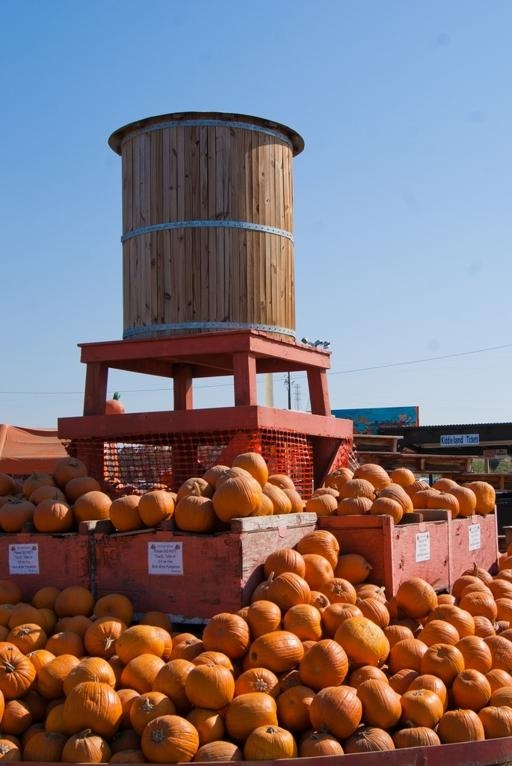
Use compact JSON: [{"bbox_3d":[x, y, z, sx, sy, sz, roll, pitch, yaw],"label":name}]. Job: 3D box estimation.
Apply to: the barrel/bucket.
[{"bbox_3d":[-0.370,-1.631,8.103,2.469,2.214,2.306,-1,6,0],"label":"barrel/bucket"}]
